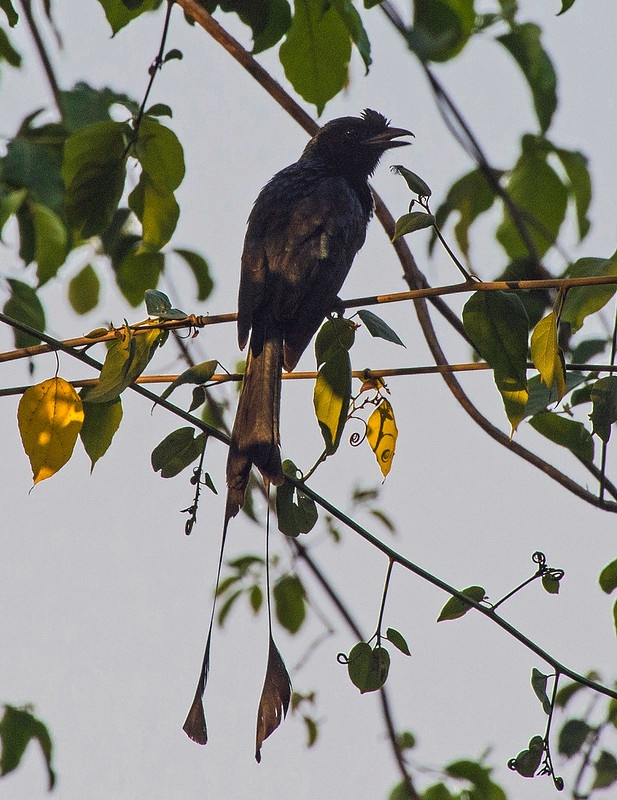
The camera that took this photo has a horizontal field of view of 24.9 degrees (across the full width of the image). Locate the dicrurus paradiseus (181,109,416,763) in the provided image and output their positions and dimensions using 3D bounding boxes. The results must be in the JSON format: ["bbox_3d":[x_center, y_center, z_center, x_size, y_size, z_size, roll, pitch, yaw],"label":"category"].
[{"bbox_3d":[-0.031,0.022,3.305,0.528,1.991,0.402,12,-40,-13],"label":"dicrurus paradiseus"}]
